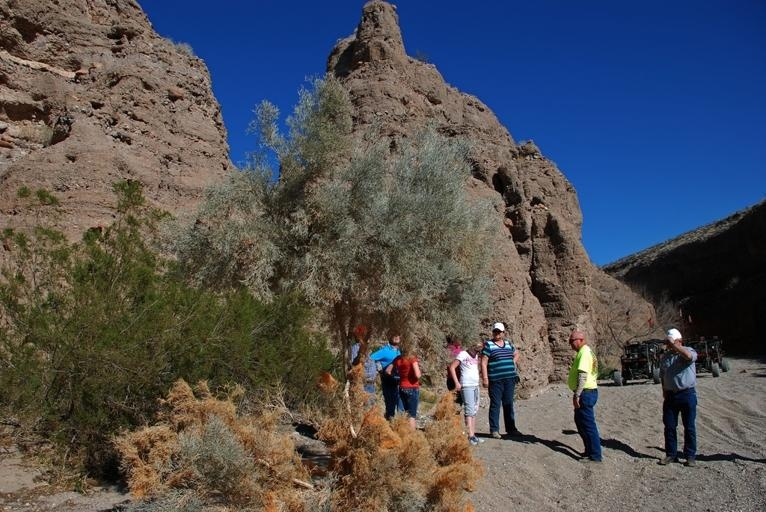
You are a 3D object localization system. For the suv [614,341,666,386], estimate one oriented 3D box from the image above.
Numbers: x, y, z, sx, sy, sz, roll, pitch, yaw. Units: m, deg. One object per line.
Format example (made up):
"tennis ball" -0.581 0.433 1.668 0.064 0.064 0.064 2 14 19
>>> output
"suv" 9.897 4.022 23.300 1.856 1.757 3.046 -2 -3 32

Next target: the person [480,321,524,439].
"person" 2.720 2.841 14.008 0.800 2.585 1.268 -4 -17 12

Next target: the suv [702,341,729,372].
"suv" 13.436 3.774 24.542 0.991 1.180 2.174 -2 13 27

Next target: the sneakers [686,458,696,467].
"sneakers" 6.154 4.078 12.037 0.217 0.154 0.120 3 -18 -11

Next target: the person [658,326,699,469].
"person" 6.077 2.894 12.466 0.818 2.650 1.005 -6 -18 18

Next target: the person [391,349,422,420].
"person" 0.511 2.797 12.981 0.552 1.469 0.542 -9 -19 26

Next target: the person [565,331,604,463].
"person" 4.200 2.876 12.613 0.553 2.632 0.721 -10 -19 30

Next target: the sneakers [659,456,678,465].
"sneakers" 5.757 4.117 12.278 0.438 0.207 0.161 0 -16 -8
